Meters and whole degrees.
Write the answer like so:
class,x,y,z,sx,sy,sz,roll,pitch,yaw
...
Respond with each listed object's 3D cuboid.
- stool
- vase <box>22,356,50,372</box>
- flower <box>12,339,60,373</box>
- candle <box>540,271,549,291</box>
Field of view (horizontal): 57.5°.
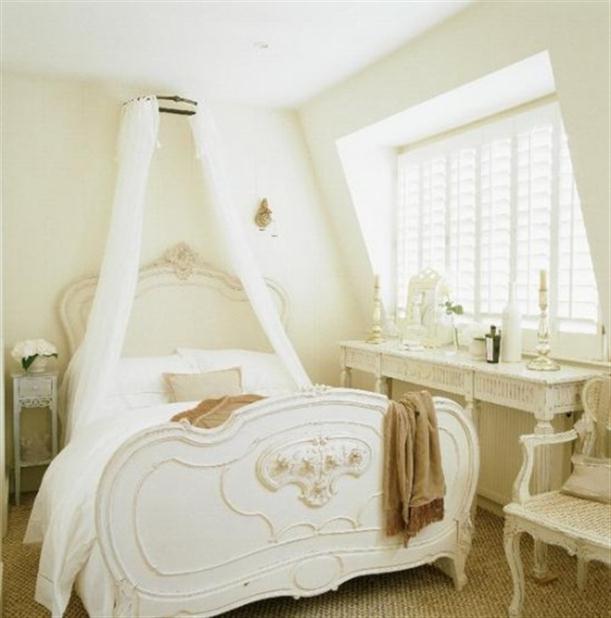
class,x,y,z,sx,sy,sz,roll,pitch,yaw
stool,-1.755,0.817,3.608,0.286,0.845,0.407,-2,4,-29
vase,-1.695,0.346,3.473,0.101,0.086,0.113,0,-1,12
flower,-1.699,0.278,3.494,0.203,0.184,0.229,1,4,5
candle,1.240,-0.148,2.887,0.032,0.104,0.025,1,4,16
